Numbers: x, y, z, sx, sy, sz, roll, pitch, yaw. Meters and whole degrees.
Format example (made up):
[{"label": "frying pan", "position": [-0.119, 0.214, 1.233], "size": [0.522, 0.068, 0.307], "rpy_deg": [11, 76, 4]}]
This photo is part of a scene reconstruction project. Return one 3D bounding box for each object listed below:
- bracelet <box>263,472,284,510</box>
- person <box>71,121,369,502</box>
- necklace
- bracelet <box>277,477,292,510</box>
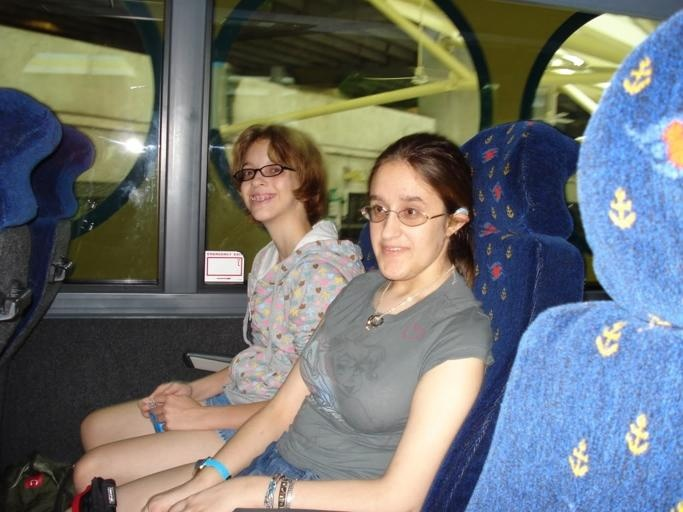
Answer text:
[{"label": "bracelet", "position": [-0.132, 0.464, 1.061], "size": [0.037, 0.050, 0.019], "rpy_deg": [3, -17, 20]}, {"label": "person", "position": [-0.269, 0.050, 2.176], "size": [1.087, 1.611, 0.724], "rpy_deg": [4, 6, -14]}, {"label": "necklace", "position": [0.156, 0.095, 1.199], "size": [0.174, 0.021, 0.133], "rpy_deg": [-38, 15, 4]}, {"label": "bracelet", "position": [-0.109, 0.466, 1.062], "size": [0.029, 0.050, 0.031], "rpy_deg": [2, 4, -1]}]
